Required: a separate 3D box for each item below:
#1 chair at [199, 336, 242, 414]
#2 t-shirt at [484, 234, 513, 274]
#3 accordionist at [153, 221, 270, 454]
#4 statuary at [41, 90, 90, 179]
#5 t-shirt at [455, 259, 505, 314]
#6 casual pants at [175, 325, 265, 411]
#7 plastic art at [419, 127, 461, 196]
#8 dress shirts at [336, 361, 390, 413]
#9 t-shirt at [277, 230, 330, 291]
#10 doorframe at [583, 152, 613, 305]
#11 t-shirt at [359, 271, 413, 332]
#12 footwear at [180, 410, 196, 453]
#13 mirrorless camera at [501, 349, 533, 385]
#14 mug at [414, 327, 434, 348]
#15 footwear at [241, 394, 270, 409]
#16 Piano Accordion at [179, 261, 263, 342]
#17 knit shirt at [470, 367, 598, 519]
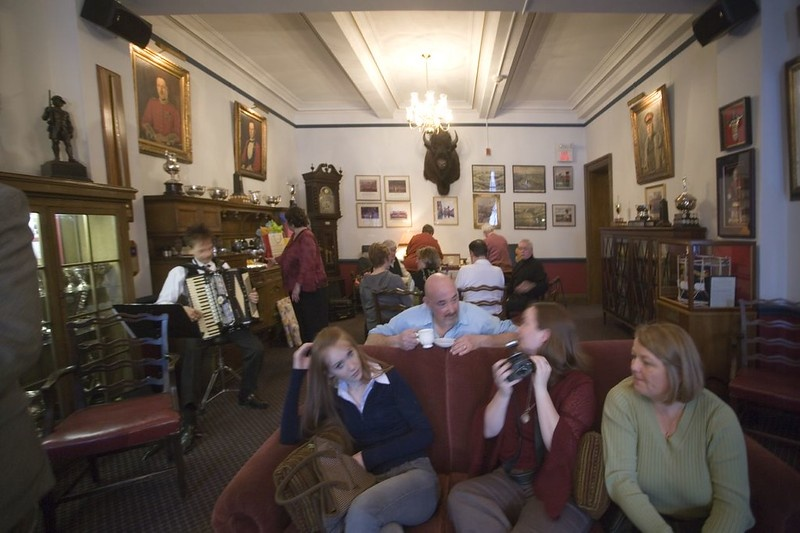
[{"bbox_3d":[-1.911,1.108,5.314,0.463,0.639,0.461,-3,3,-12],"label":"chair"},{"bbox_3d":[1.412,-0.231,7.153,0.368,0.524,0.290,-16,18,10],"label":"t-shirt"},{"bbox_3d":[-1.830,0.593,4.858,0.954,1.951,0.649,-10,18,-28],"label":"accordionist"},{"bbox_3d":[-3.067,-1.178,4.506,0.376,0.846,0.506,-7,7,-35],"label":"statuary"},{"bbox_3d":[0.876,0.199,5.383,0.478,0.896,0.583,-1,20,4],"label":"t-shirt"},{"bbox_3d":[-1.912,0.934,5.229,0.760,1.104,0.761,3,2,-25],"label":"casual pants"},{"bbox_3d":[0.742,-1.855,8.899,0.671,1.201,1.090,-2,21,1],"label":"plastic art"},{"bbox_3d":[-0.258,0.828,3.405,0.264,0.374,0.160,-25,0,-3],"label":"dress shirts"},{"bbox_3d":[-1.171,-0.026,5.985,0.567,0.794,0.854,-1,1,-26],"label":"t-shirt"},{"bbox_3d":[3.445,-0.592,8.663,0.383,2.554,0.880,-1,6,19],"label":"doorframe"},{"bbox_3d":[-0.138,0.356,5.297,0.507,0.914,0.614,1,11,9],"label":"t-shirt"},{"bbox_3d":[-1.934,1.530,4.551,0.189,0.330,0.327,1,-9,-22],"label":"footwear"},{"bbox_3d":[0.740,0.627,3.126,0.173,0.167,0.168,-3,-22,-46],"label":"mirrorless camera"},{"bbox_3d":[0.183,0.524,3.553,0.097,0.107,0.141,-4,-7,-33],"label":"mug"},{"bbox_3d":[-1.486,1.400,5.131,0.330,0.222,0.122,1,-1,-2],"label":"footwear"},{"bbox_3d":[-1.700,0.332,4.855,0.699,0.683,0.190,3,-15,-40],"label":"Piano Accordion"},{"bbox_3d":[0.854,1.134,3.094,0.470,0.871,0.733,26,-13,-38],"label":"knit shirt"}]
